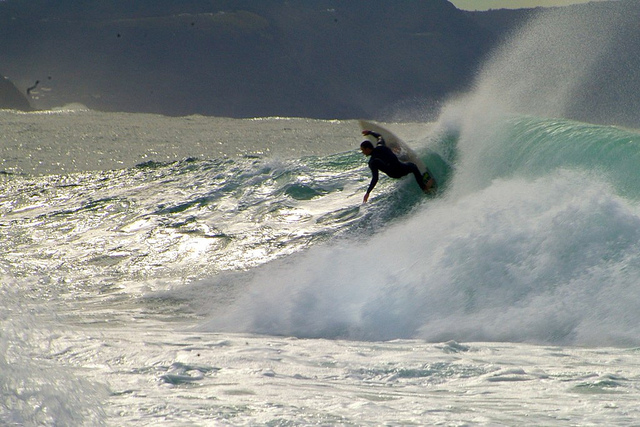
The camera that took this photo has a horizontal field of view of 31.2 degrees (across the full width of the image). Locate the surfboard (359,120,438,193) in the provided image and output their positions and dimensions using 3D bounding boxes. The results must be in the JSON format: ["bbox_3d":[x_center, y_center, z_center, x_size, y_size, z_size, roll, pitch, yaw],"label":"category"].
[{"bbox_3d":[2.063,-1.476,28.406,0.413,0.669,3.491,6,26,-49],"label":"surfboard"}]

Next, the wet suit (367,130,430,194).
[{"bbox_3d":[1.748,-1.210,27.347,2.089,0.807,1.209,18,39,9],"label":"wet suit"}]
